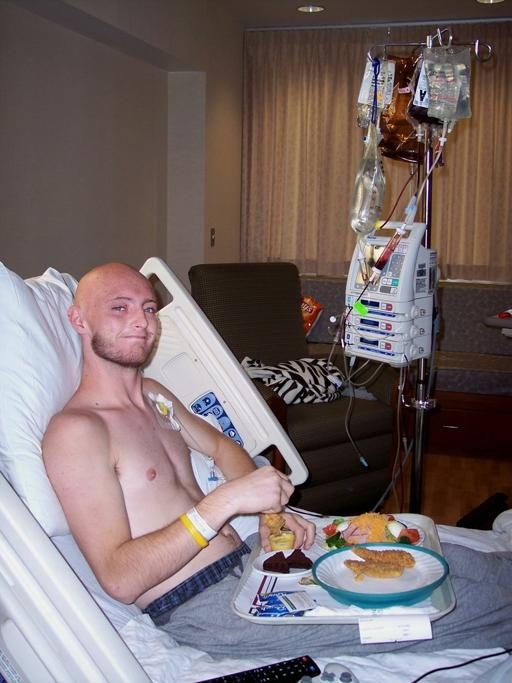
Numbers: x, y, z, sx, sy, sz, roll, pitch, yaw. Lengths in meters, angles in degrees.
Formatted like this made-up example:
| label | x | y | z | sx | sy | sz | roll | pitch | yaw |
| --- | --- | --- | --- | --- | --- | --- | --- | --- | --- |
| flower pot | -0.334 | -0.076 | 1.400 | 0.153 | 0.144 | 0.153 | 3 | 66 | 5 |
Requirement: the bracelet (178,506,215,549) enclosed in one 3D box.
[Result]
| label | x | y | z | sx | sy | sz | roll | pitch | yaw |
| --- | --- | --- | --- | --- | --- | --- | --- | --- | --- |
| bracelet | -0.100 | 0.324 | 0.974 | 0.025 | 0.069 | 0.058 | -47 | 1 | -16 |

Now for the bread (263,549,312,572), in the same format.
| label | x | y | z | sx | sy | sz | roll | pitch | yaw |
| --- | --- | --- | --- | --- | --- | --- | --- | --- | --- |
| bread | 0.063 | 0.437 | 1.125 | 0.060 | 0.014 | 0.041 | -2 | 5 | -17 |
